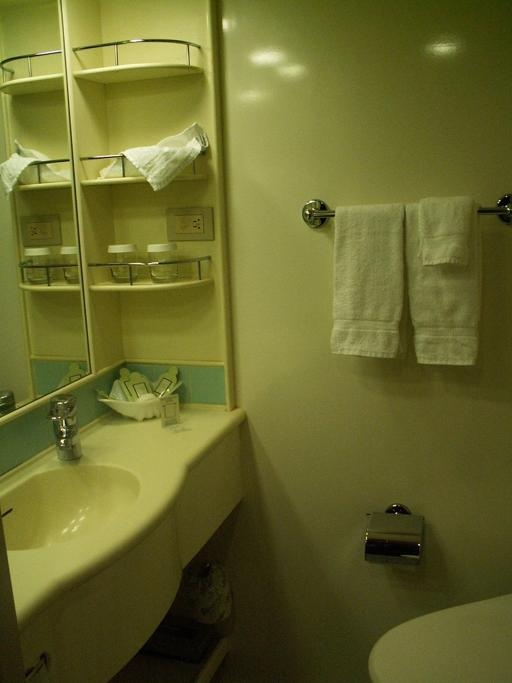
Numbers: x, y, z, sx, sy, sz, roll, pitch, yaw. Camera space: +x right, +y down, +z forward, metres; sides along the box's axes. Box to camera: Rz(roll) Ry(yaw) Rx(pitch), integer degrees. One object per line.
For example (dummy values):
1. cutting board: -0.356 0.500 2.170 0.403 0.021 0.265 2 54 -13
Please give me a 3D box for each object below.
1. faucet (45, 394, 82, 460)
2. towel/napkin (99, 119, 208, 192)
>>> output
1. faucet: -0.474 0.204 1.411 0.064 0.164 0.127 -5 11 -19
2. towel/napkin: -0.280 -0.495 1.550 0.291 0.180 0.199 4 12 26
